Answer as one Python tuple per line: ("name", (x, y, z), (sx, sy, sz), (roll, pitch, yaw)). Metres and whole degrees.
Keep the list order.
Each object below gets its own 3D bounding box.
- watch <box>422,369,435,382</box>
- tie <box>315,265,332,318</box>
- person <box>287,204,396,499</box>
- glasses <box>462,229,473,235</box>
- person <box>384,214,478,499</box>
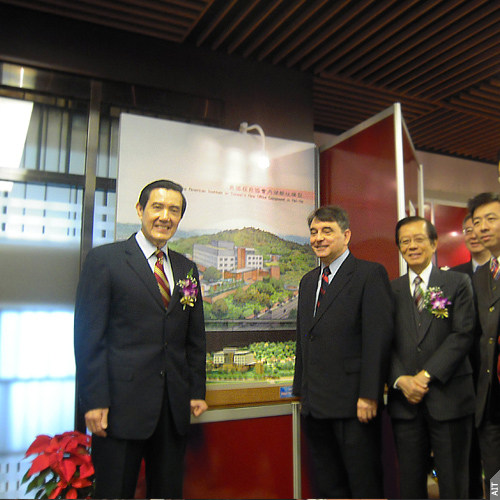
("watch", (0.785, 0.558, 2.121), (0.041, 0.048, 0.045), (-7, -15, -5))
("tie", (0.357, 0.175, 2.309), (0.043, 0.332, 0.017), (-5, -42, 30))
("person", (0.406, 0.496, 2.261), (0.497, 1.429, 0.406), (2, 1, 25))
("glasses", (1.520, -0.133, 3.339), (0.072, 0.043, 0.098), (0, -10, 10))
("person", (0.855, 0.511, 2.264), (0.385, 0.999, 0.367), (2, 1, 20))
